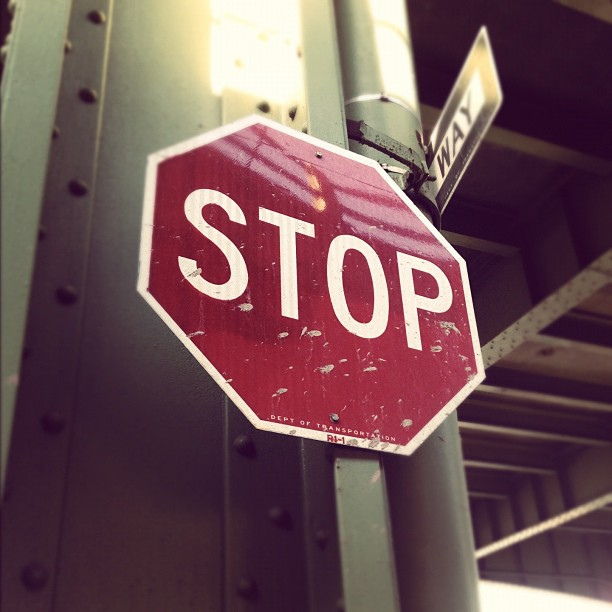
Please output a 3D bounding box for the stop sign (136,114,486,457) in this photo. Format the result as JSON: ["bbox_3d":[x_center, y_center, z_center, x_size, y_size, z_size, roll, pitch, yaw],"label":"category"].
[{"bbox_3d":[-0.020,-0.043,1.642,0.805,0.062,0.864,29,40,-27],"label":"stop sign"}]
